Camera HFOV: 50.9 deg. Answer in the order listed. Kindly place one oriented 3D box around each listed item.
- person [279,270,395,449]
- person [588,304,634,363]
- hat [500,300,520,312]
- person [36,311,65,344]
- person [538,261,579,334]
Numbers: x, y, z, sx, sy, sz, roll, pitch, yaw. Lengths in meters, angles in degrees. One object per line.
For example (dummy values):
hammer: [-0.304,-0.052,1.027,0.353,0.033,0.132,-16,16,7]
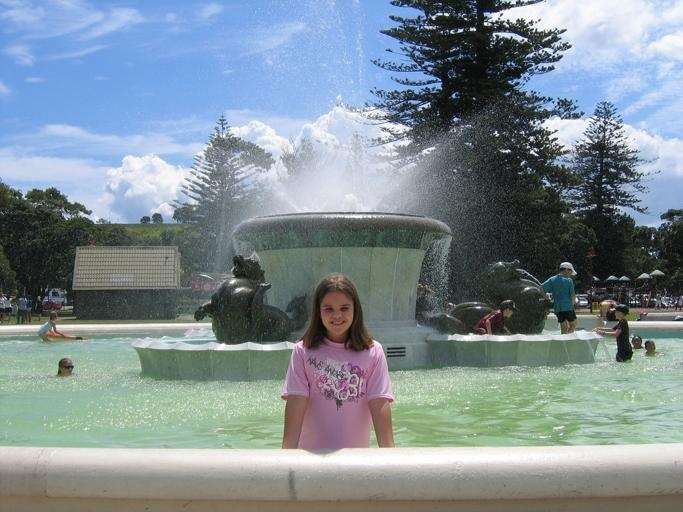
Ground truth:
person: [-0.028,0.577,3.957,0.597,0.950,0.181,0,-3,-7]
person: [4.063,1.410,10.710,0.517,1.325,0.482,-2,0,-8]
hat: [2.415,0.706,10.398,0.176,0.155,0.272,3,6,45]
person: [-6.175,1.485,15.266,0.469,0.617,2.350,1,-4,-22]
person: [3.776,0.703,12.484,0.514,1.250,1.689,-1,-3,18]
